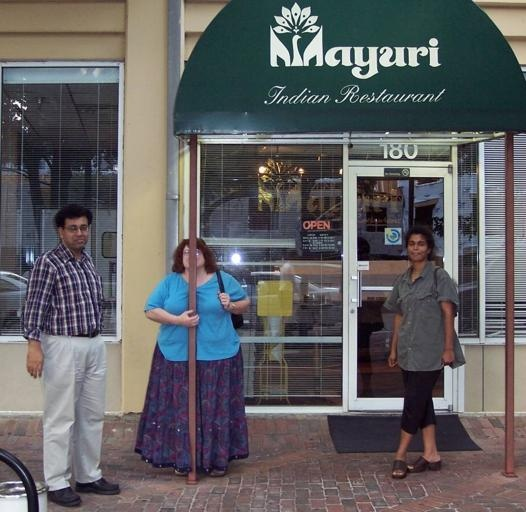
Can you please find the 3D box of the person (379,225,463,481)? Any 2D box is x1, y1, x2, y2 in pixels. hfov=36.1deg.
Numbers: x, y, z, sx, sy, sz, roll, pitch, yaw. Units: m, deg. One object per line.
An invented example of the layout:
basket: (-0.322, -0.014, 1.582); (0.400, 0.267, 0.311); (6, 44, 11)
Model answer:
person: (1.333, 0.729, 6.415); (0.614, 1.790, 0.711); (0, -1, 18)

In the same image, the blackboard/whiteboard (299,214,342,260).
blackboard/whiteboard: (0.553, -0.183, 7.726); (0.388, 0.416, 0.073); (1, 8, 7)

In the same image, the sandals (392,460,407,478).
sandals: (1.044, 1.646, 6.165); (0.107, 0.125, 0.100); (1, 8, 7)

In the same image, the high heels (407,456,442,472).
high heels: (1.262, 1.642, 6.289); (0.234, 0.090, 0.113); (2, -5, -9)

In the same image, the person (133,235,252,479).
person: (-0.553, 0.797, 6.142); (0.860, 1.820, 0.529); (0, 8, -2)

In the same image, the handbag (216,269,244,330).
handbag: (-0.258, 0.356, 6.335); (0.259, 0.418, 0.237); (1, 3, -2)

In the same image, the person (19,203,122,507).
person: (-1.403, 0.713, 5.751); (0.649, 2.129, 0.490); (-6, 10, -34)
